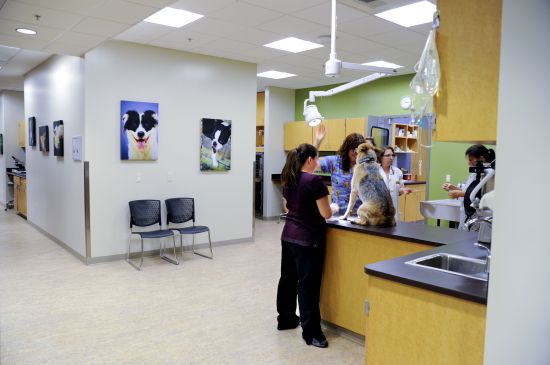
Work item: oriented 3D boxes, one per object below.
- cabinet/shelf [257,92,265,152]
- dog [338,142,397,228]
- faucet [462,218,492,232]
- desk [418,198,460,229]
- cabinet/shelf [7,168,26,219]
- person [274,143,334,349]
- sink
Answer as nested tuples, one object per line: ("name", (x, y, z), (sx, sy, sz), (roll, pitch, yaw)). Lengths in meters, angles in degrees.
("cabinet/shelf", (-0.396, -1.677, 10.175), (0.223, 1.612, 0.732), (0, 9, -3))
("dog", (1.010, 0.012, 3.923), (0.499, 0.830, 0.665), (-7, 16, -29))
("faucet", (1.949, 0.410, 3.651), (0.302, 0.098, 0.213), (-3, 3, -28))
("desk", (2.639, 0.420, 5.897), (0.460, 0.538, 0.768), (0, 1, 43))
("cabinet/shelf", (-6.969, 0.262, 10.222), (0.476, 0.880, 1.350), (2, -1, -36))
("person", (0.296, 0.625, 3.920), (0.553, 2.047, 0.506), (1, 9, 1))
("sink", (1.441, 0.654, 3.030), (0.284, 0.128, 0.350), (-1, 0, -38))
